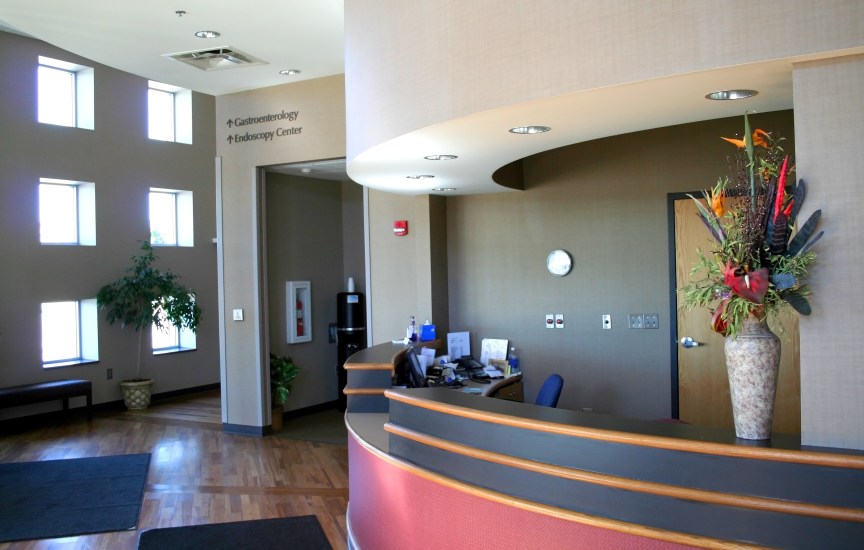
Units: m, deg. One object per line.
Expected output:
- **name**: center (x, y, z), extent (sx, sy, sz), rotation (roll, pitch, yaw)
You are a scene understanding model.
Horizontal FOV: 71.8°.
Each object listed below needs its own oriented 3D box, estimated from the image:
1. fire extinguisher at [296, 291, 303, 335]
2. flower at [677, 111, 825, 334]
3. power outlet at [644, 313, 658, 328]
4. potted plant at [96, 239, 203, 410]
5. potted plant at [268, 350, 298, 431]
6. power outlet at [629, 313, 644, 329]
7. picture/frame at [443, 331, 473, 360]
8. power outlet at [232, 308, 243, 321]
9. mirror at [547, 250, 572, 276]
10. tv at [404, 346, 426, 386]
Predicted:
- **fire extinguisher**: center (-1.920, 0.553, 8.653), extent (0.092, 0.628, 0.154), rotation (-3, 6, -11)
- **flower**: center (2.022, -0.236, 3.779), extent (0.807, 1.219, 0.725), rotation (7, 2, -38)
- **power outlet**: center (2.358, 0.483, 6.423), extent (0.171, 0.153, 0.041), rotation (1, 5, 23)
- **potted plant**: center (-4.628, 0.787, 9.730), extent (1.398, 2.677, 0.862), rotation (-4, 6, -27)
- **potted plant**: center (-2.088, 1.580, 8.246), extent (0.461, 1.003, 0.332), rotation (-7, 8, -44)
- **power outlet**: center (2.218, 0.495, 6.464), extent (0.174, 0.161, 0.018), rotation (1, -2, 25)
- **picture/frame**: center (0.293, 0.818, 6.913), extent (0.301, 0.324, 0.045), rotation (1, -9, -30)
- **power outlet**: center (-2.612, 0.529, 8.019), extent (0.171, 0.188, 0.026), rotation (-1, -3, 21)
- **mirror**: center (1.448, -0.140, 6.758), extent (0.302, 0.285, 0.086), rotation (0, 6, 13)
- **tv**: center (-0.173, 0.890, 5.748), extent (0.030, 0.206, 0.286), rotation (-17, -29, 10)
